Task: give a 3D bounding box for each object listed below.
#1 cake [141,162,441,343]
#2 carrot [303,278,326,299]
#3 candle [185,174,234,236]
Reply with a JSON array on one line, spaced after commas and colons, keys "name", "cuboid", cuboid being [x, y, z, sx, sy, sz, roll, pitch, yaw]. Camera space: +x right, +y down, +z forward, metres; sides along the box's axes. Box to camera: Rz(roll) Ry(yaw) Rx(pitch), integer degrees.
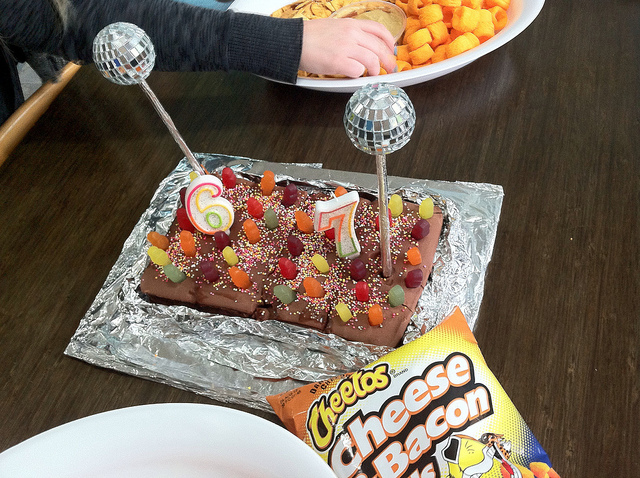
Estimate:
[{"name": "cake", "cuboid": [-0.059, 0.054, 1.200, 0.488, 0.176, 0.368, 11, 63, 17]}, {"name": "carrot", "cuboid": [-0.011, 0.094, 1.101, 0.040, 0.034, 0.028, -3, 56, 4]}, {"name": "candle", "cuboid": [-0.229, -0.067, 1.174, 0.085, 0.123, 0.060, -2, 47, -12]}]
